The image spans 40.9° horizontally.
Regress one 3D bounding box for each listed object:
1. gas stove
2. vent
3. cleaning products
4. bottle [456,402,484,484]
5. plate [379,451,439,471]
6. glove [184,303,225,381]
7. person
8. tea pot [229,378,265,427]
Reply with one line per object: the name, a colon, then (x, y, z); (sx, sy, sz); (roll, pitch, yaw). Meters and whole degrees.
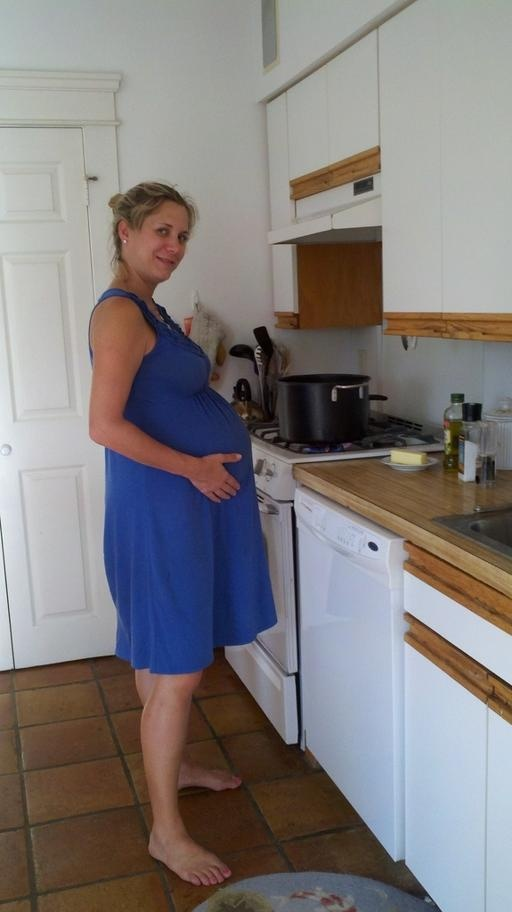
gas stove: (0.173, -0.051, 2.267); (0.705, 0.180, 0.638); (-6, 10, -23)
vent: (0.274, -0.743, 2.157); (0.312, 0.268, 0.414); (-4, 11, -24)
cleaning products: (0.522, -0.037, 1.677); (0.087, 0.217, 0.121); (-5, 14, -26)
bottle: (0.510, -0.035, 1.644); (0.055, 0.181, 0.126); (-1, 5, 17)
plate: (0.406, 0.009, 1.821); (0.141, 0.050, 0.139); (-2, 5, 11)
glove: (-0.225, -0.447, 2.813); (0.213, 0.380, 0.090); (7, -1, -24)
person: (-0.168, 0.151, 1.507); (0.454, 1.470, 0.458); (2, 6, 27)
tea pot: (-0.042, -0.212, 2.729); (0.115, 0.184, 0.187); (-4, 22, -9)
